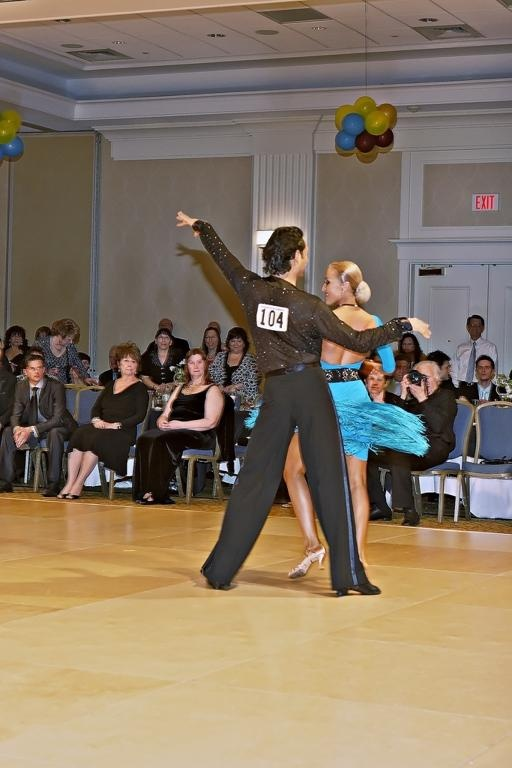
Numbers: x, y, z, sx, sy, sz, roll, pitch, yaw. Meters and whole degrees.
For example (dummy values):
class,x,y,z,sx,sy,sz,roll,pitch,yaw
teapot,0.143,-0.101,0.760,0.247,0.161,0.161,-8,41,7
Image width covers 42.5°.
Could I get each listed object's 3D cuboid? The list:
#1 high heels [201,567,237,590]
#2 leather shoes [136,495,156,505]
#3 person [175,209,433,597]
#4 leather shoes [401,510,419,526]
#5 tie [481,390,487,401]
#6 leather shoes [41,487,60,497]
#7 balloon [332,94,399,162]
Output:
class,x,y,z,sx,sy,sz,roll,pitch,yaw
high heels,-0.167,0.889,3.001,0.132,0.043,0.092,17,0,-41
leather shoes,-1.042,1.096,6.238,0.075,0.084,0.211,8,-3,-32
person,0.187,0.062,2.972,1.020,1.739,0.428,0,-8,12
leather shoes,1.298,1.144,5.539,0.106,0.133,0.157,10,-20,-37
tie,2.602,0.138,7.531,0.088,0.114,0.034,-6,-13,39
leather shoes,-2.069,1.096,6.621,0.077,0.081,0.201,-1,-11,2
balloon,1.369,-3.287,8.415,0.705,0.665,0.500,-3,-9,31
